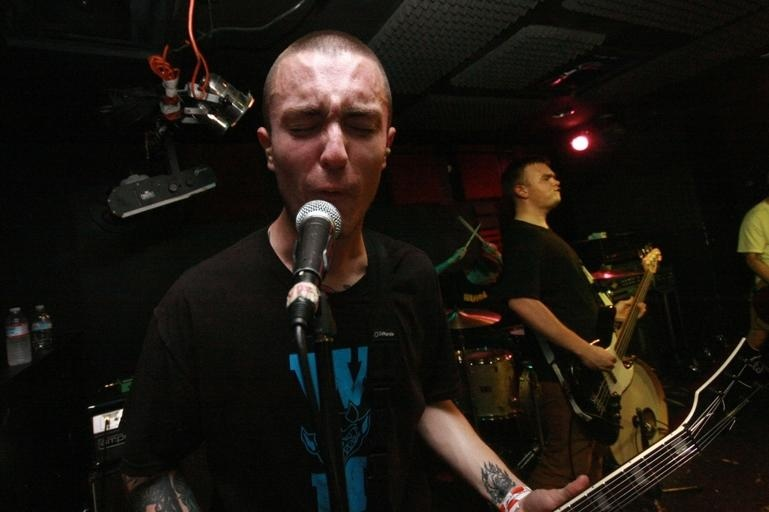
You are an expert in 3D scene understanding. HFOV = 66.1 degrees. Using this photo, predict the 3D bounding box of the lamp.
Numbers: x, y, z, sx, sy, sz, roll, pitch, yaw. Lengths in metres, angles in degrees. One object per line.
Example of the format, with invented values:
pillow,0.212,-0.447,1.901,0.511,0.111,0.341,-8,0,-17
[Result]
lamp,-0.907,-0.851,3.358,0.348,0.255,0.169,35,19,-30

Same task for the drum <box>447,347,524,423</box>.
drum,0.646,0.798,3.930,0.480,0.454,0.468,-3,-4,-13

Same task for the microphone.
microphone,-0.291,0.016,2.357,0.170,0.163,0.562,-23,33,24

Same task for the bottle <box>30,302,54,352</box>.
bottle,-2.023,0.419,3.487,0.114,0.271,0.290,-5,2,-30
